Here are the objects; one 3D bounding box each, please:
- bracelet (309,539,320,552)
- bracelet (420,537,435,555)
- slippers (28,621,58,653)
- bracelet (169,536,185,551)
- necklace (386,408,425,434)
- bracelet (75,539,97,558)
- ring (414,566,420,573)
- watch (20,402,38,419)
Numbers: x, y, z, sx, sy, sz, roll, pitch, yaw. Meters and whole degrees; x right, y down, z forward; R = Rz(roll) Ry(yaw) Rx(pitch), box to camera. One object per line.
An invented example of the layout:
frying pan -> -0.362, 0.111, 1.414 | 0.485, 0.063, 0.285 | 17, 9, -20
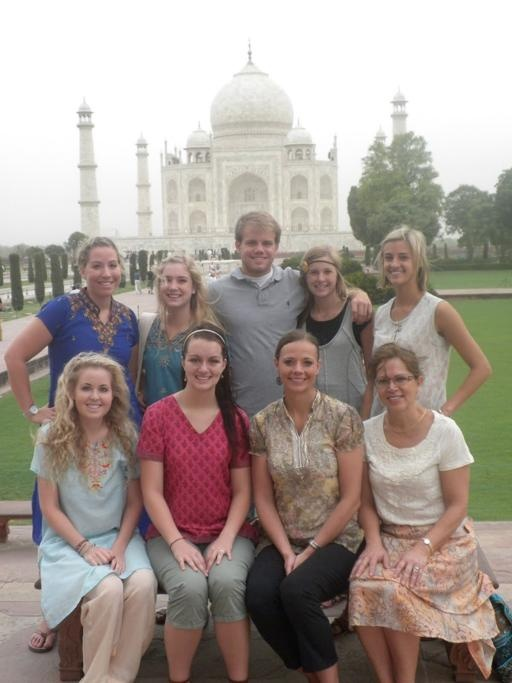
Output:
bracelet -> 0.194, 0.684, 2.349 | 0.040, 0.026, 0.035 | 37, 19, -18
bracelet -> 0.568, 0.666, 2.286 | 0.050, 0.044, 0.045 | -17, 15, -21
slippers -> -0.743, 1.039, 2.446 | 0.084, 0.053, 0.193 | 1, -9, -5
bracelet -> -0.258, 0.673, 2.330 | 0.057, 0.035, 0.046 | -5, 7, -27
necklace -> 0.525, 0.299, 2.483 | 0.150, 0.092, 0.162 | -2, -25, 10
bracelet -> -0.573, 0.696, 2.345 | 0.057, 0.023, 0.048 | -36, 28, 15
ring -> 0.513, 0.722, 2.207 | 0.019, 0.015, 0.005 | -2, -16, 7
watch -> -0.878, 0.263, 2.737 | 0.073, 0.044, 0.063 | 5, -38, -46
